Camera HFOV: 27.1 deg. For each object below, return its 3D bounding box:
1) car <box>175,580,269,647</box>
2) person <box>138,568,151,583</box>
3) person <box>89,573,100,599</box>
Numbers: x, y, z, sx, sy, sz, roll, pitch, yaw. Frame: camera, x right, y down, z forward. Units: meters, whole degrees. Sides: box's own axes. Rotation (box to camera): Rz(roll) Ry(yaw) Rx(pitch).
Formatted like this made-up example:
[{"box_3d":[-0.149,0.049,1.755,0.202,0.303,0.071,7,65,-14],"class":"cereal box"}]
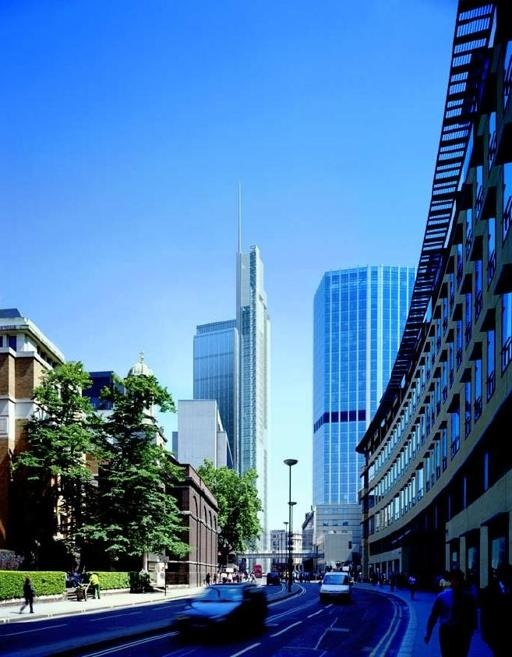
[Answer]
[{"box_3d":[-0.836,7.559,28.024,1.016,1.074,3.249,-2,-24,11],"class":"car"},{"box_3d":[-6.448,14.434,61.387,0.702,0.479,0.962,6,-8,-3],"class":"person"},{"box_3d":[-7.657,12.221,49.984,0.483,1.278,1.654,0,-17,-9],"class":"person"}]
